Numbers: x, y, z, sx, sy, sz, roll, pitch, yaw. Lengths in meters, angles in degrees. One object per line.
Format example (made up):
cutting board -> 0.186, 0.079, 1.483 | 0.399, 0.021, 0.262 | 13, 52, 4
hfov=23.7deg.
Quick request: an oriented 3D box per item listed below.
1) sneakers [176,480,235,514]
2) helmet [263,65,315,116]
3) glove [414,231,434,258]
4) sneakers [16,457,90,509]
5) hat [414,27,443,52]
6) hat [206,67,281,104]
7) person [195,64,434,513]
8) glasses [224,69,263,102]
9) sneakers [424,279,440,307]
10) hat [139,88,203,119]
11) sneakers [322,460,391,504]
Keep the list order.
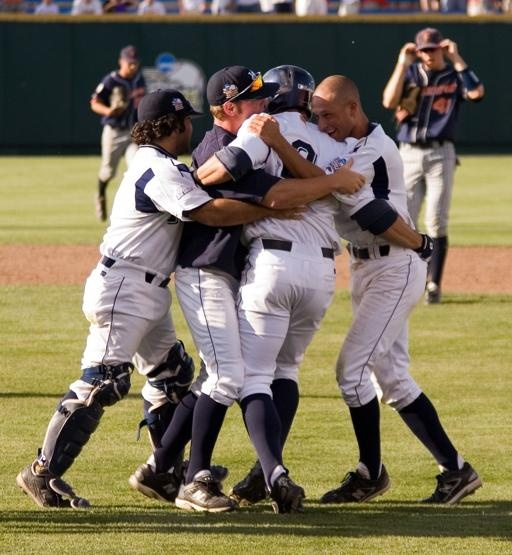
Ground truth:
sneakers -> -0.255, 0.960, 5.352 | 0.292, 0.132, 0.116 | -2, -4, 34
helmet -> 0.158, -0.877, 5.692 | 0.264, 0.222, 0.199 | 12, -1, 2
glove -> 0.789, -0.162, 5.719 | 0.072, 0.118, 0.054 | -5, -11, -41
sneakers -> -0.923, 0.929, 5.505 | 0.263, 0.117, 0.087 | 31, 20, 1
hat -> 1.300, -1.825, 9.250 | 0.159, 0.130, 0.236 | -3, 14, 18
hat -> -0.091, -0.872, 5.542 | 0.254, 0.108, 0.179 | -3, 29, 0
person -> 0.142, 0.049, 5.508 | 0.762, 1.974, 1.033 | 9, 15, 33
glasses -> -0.057, -0.871, 5.576 | 0.175, 0.164, 0.122 | -12, 24, 3
sneakers -> 1.290, 0.099, 8.962 | 0.116, 0.185, 0.189 | -1, 27, 6
hat -> -0.409, -0.794, 5.613 | 0.210, 0.116, 0.150 | -18, 20, -22
sneakers -> 0.460, 0.936, 5.698 | 0.367, 0.167, 0.127 | -15, 13, -11
